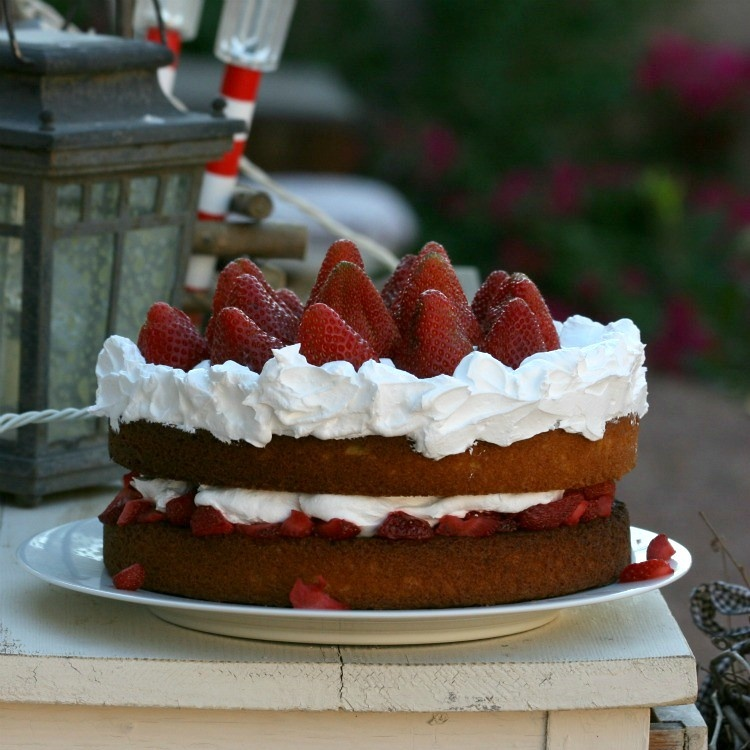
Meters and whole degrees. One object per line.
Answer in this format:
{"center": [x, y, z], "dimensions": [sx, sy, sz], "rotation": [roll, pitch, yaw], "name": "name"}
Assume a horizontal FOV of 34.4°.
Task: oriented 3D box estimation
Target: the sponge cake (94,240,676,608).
{"center": [-0.004, 0.063, 1.192], "dimensions": [0.481, 0.200, 0.409], "rotation": [0, -4, -1], "name": "sponge cake"}

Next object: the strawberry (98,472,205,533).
{"center": [-0.213, 0.119, 1.146], "dimensions": [0.068, 0.024, 0.069], "rotation": [0, 5, 11], "name": "strawberry"}
